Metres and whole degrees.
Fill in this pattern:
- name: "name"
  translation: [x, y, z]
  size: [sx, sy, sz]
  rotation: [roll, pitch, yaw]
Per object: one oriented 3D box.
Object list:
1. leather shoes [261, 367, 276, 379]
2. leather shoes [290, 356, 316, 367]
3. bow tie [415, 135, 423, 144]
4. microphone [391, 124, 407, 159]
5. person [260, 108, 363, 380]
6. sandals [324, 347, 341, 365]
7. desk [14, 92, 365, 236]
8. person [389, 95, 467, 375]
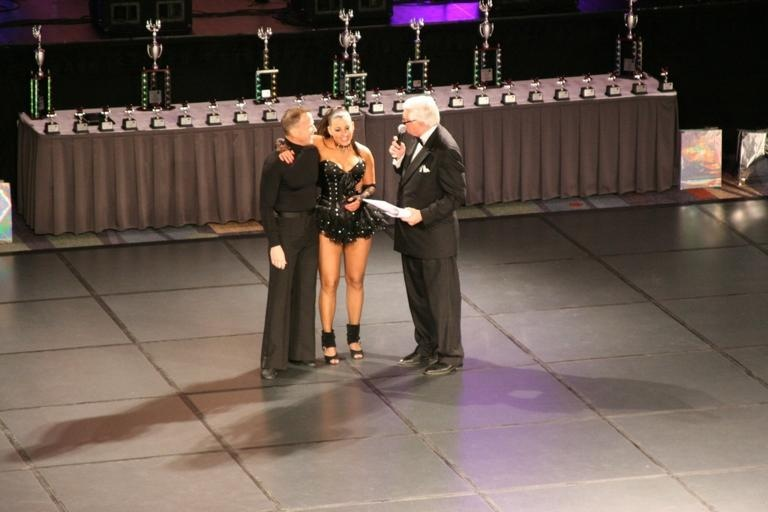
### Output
- name: "leather shoes"
  translation: [-0.964, 0.981, 6.454]
  size: [0.084, 0.044, 0.120]
  rotation: [-1, 18, -10]
- name: "leather shoes"
  translation: [-0.698, 0.909, 6.653]
  size: [0.237, 0.085, 0.087]
  rotation: [-1, 0, 37]
- name: "bow tie"
  translation: [0.291, -0.967, 6.327]
  size: [0.009, 0.044, 0.076]
  rotation: [-11, 18, -30]
- name: "microphone"
  translation: [0.136, -1.017, 6.381]
  size: [0.070, 0.180, 0.195]
  rotation: [13, -21, -14]
- name: "person"
  translation: [-0.787, -0.089, 6.321]
  size: [0.612, 2.220, 0.249]
  rotation: [-16, 23, -42]
- name: "sandals"
  translation: [-0.454, 0.868, 6.683]
  size: [0.104, 0.070, 0.171]
  rotation: [-2, 31, -4]
- name: "desk"
  translation: [-2.293, -1.005, 9.471]
  size: [3.180, 0.965, 1.064]
  rotation: [-2, -7, 21]
- name: "person"
  translation: [0.369, -0.162, 6.431]
  size: [0.649, 2.310, 0.480]
  rotation: [4, 17, 17]
